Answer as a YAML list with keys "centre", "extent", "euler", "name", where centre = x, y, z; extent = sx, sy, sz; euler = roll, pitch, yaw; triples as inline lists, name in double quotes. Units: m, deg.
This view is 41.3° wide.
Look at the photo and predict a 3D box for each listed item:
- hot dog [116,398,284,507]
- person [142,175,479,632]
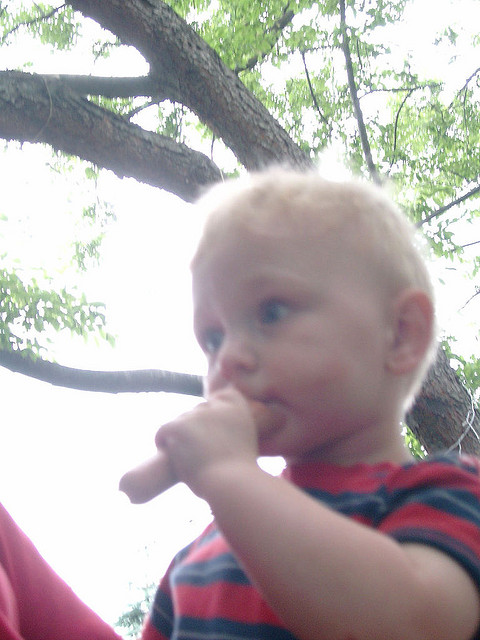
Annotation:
- centre: [-0.044, 0.199, 0.931]
  extent: [0.279, 0.064, 0.087]
  euler: [-36, -41, -8]
  name: "hot dog"
- centre: [0.132, 0.057, 1.083]
  extent: [0.520, 0.870, 0.374]
  euler: [2, -19, -7]
  name: "person"
